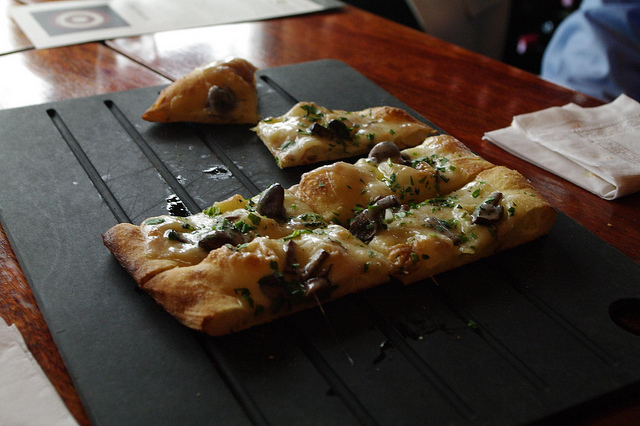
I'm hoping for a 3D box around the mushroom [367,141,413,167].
[{"bbox_3d":[0.191,-0.157,1.406,0.101,0.052,0.062,11,7,-27],"label":"mushroom"}]

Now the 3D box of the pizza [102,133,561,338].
[{"bbox_3d":[0.063,-0.022,1.140,0.915,0.128,0.462,-16,42,-22],"label":"pizza"}]

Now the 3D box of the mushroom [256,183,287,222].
[{"bbox_3d":[-0.106,-0.020,1.193,0.052,0.031,0.094,9,88,-21],"label":"mushroom"}]

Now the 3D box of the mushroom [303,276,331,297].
[{"bbox_3d":[-0.007,0.152,1.062,0.054,0.013,0.030,-18,55,-12],"label":"mushroom"}]

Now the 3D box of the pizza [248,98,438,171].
[{"bbox_3d":[0.086,-0.294,1.516,0.447,0.078,0.268,-14,36,-18],"label":"pizza"}]

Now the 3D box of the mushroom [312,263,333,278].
[{"bbox_3d":[0.010,0.117,1.053,0.034,0.008,0.020,-41,85,-21],"label":"mushroom"}]

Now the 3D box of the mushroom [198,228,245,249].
[{"bbox_3d":[-0.222,0.061,1.124,0.065,0.048,0.023,-5,72,-3],"label":"mushroom"}]

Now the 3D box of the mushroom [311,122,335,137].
[{"bbox_3d":[0.004,-0.239,1.500,0.044,0.013,0.041,23,25,-18],"label":"mushroom"}]

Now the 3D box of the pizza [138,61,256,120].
[{"bbox_3d":[-0.367,-0.370,1.586,0.306,0.111,0.186,-8,42,-9],"label":"pizza"}]

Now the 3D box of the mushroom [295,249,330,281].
[{"bbox_3d":[-0.017,0.105,1.080,0.078,0.019,0.030,-40,59,-21],"label":"mushroom"}]
